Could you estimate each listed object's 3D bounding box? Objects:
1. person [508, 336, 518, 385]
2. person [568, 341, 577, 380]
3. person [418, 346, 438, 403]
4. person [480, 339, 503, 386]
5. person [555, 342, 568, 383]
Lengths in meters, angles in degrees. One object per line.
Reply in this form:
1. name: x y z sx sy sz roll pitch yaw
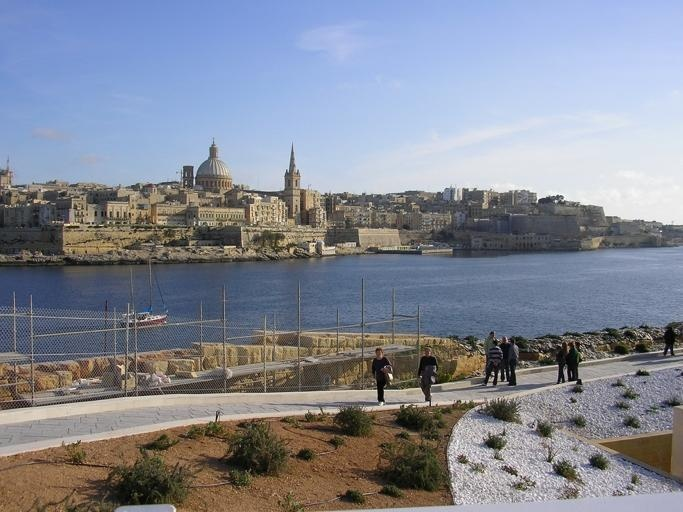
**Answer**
1. person: 4.897 3.027 22.710 0.267 1.157 0.950 2 2 11
2. person: 6.594 2.998 22.683 0.271 0.907 1.258 2 1 16
3. person: 2.245 3.017 20.649 0.415 1.387 1.214 1 2 6
4. person: 4.416 2.994 23.077 0.531 1.326 1.318 2 2 11
5. person: 6.215 2.979 22.467 0.272 1.128 0.716 2 2 15
